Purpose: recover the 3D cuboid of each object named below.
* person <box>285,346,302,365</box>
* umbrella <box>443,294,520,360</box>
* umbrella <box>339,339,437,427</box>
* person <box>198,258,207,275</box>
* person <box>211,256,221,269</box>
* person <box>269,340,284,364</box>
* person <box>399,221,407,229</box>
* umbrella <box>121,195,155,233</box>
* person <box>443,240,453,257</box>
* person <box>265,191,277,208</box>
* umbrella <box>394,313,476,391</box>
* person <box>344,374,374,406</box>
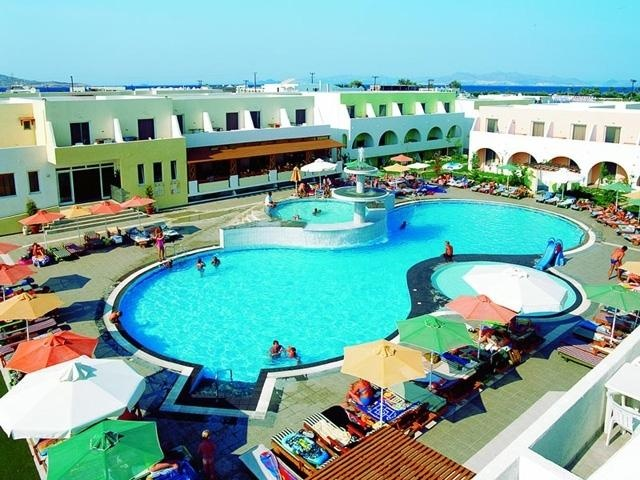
[{"bbox_3d":[-1.141,4.732,18.744,0.575,0.663,0.293,-8,12,6],"label":"person"},{"bbox_3d":[5.968,3.030,17.142,1.768,1.124,1.626,-6,15,-23],"label":"umbrella"},{"bbox_3d":[2.123,4.206,14.957,2.669,2.588,2.816,13,24,31],"label":"umbrella"},{"bbox_3d":[-7.044,1.441,26.693,0.460,0.884,1.135,-8,15,-12],"label":"person"},{"bbox_3d":[-6.274,1.314,27.104,0.388,0.672,0.616,-13,18,-29],"label":"person"},{"bbox_3d":[-1.823,4.504,18.640,0.741,0.873,0.351,7,41,2],"label":"person"},{"bbox_3d":[6.233,-1.152,34.406,0.798,0.409,0.854,3,17,11],"label":"person"},{"bbox_3d":[-12.601,-2.192,31.016,1.847,1.559,1.684,0,14,-1],"label":"umbrella"},{"bbox_3d":[7.771,0.569,27.631,0.494,1.127,0.640,-1,16,13],"label":"person"},{"bbox_3d":[-4.062,-3.074,36.447,0.886,0.954,0.895,-6,15,-8],"label":"person"},{"bbox_3d":[4.055,3.870,16.131,2.480,1.508,2.276,3,12,15],"label":"umbrella"},{"bbox_3d":[1.335,5.103,15.376,0.983,0.732,1.058,-6,23,-20],"label":"person"}]
